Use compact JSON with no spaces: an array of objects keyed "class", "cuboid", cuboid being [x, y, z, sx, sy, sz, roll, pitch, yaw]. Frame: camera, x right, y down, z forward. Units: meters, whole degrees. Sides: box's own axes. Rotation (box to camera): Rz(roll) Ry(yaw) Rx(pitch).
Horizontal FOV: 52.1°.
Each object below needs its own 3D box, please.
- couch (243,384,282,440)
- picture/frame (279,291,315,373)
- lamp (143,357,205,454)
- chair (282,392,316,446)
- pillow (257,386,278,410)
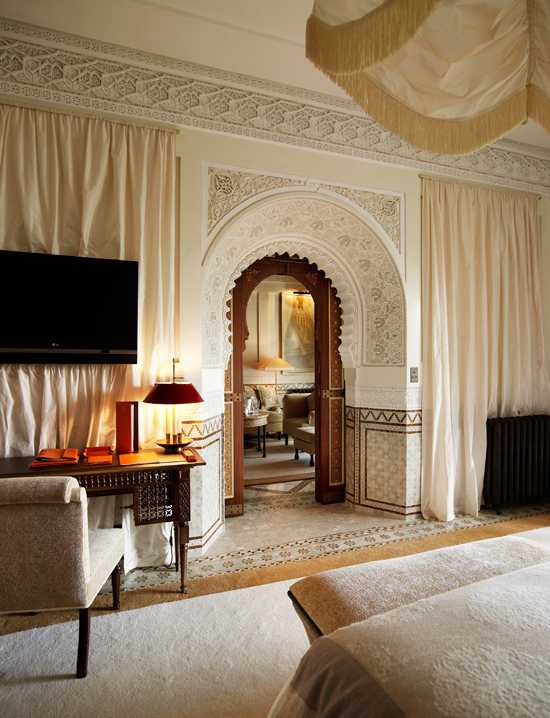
[{"class":"couch","cuboid":[-0.176,0.679,8.016,0.559,0.798,0.699,2,-6,-24]},{"class":"picture/frame","cuboid":[0.349,-0.437,8.854,0.600,1.288,0.148,-1,2,-27]},{"class":"lamp","cuboid":[-0.624,0.278,3.463,0.358,0.575,0.342,-2,4,-43]},{"class":"chair","cuboid":[0.354,0.745,7.819,0.575,0.729,0.526,3,-3,-21]},{"class":"pillow","cuboid":[-0.122,0.581,8.384,0.305,0.337,0.100,3,-18,-42]}]
